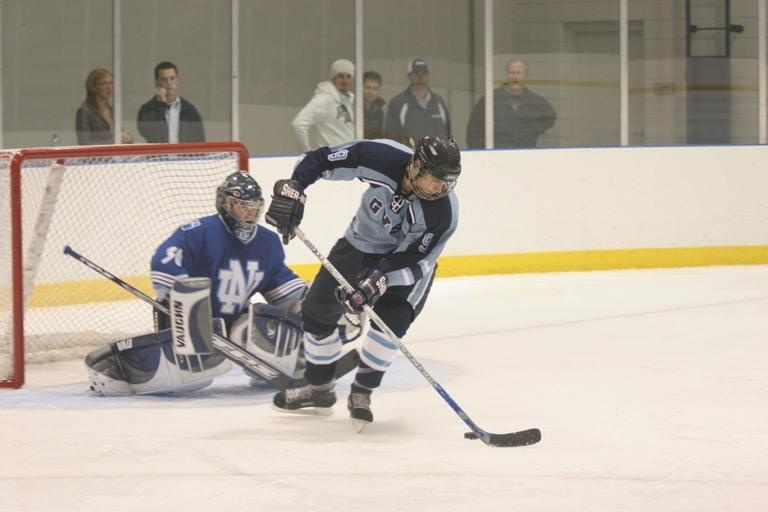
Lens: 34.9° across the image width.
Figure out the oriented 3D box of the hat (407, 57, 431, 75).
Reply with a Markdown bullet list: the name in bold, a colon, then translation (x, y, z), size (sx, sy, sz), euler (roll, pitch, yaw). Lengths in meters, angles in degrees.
- **hat**: translation (0.281, -1.518, 9.871), size (0.125, 0.086, 0.158), euler (-2, 19, -1)

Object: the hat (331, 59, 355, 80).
- **hat**: translation (-0.326, -1.486, 9.759), size (0.166, 0.106, 0.151), euler (4, 10, 5)

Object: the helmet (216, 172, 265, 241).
- **helmet**: translation (-0.842, -0.318, 7.257), size (0.331, 0.363, 0.412), euler (0, 17, -25)

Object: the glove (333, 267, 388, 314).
- **glove**: translation (-0.092, 0.195, 6.549), size (0.282, 0.182, 0.106), euler (-29, -16, -45)

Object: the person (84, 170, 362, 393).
- **person**: translation (-0.926, 0.172, 7.201), size (1.558, 1.049, 0.772), euler (2, 25, -15)

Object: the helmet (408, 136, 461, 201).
- **helmet**: translation (0.268, -0.452, 6.418), size (0.267, 0.319, 0.112), euler (-1, 5, 0)

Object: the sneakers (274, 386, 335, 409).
- **sneakers**: translation (-0.432, 0.799, 6.858), size (0.375, 0.131, 0.128), euler (4, 2, -1)

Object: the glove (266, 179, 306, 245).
- **glove**: translation (-0.542, -0.237, 6.666), size (0.215, 0.347, 0.173), euler (-2, 5, -4)
